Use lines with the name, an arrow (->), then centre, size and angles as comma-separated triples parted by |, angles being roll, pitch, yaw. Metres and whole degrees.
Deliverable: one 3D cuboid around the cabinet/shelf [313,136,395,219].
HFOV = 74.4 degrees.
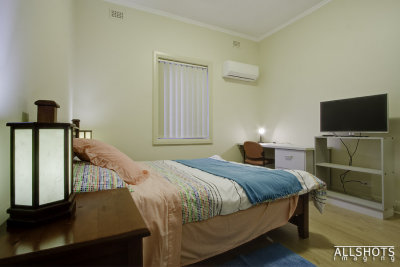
cabinet/shelf -> 2.239, 0.644, 3.774 | 0.322, 1.118, 1.036 | -2, 2, -29
